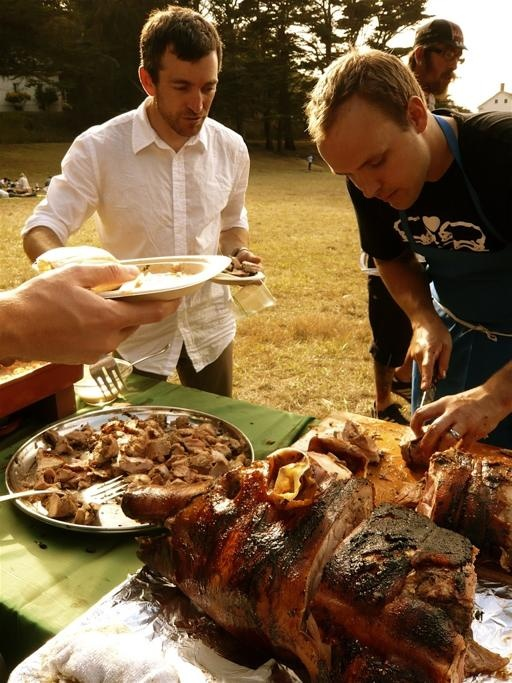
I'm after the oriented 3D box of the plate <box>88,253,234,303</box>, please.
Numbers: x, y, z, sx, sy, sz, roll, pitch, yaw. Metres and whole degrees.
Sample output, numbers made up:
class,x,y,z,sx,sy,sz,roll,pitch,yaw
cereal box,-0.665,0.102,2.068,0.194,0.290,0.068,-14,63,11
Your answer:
class,x,y,z,sx,sy,sz,roll,pitch,yaw
plate,-0.339,-0.226,2.068,0.330,0.052,0.325,-6,15,12

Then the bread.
class,x,y,z,sx,sy,sz,roll,pitch,yaw
bread,-0.570,-0.274,1.873,0.252,0.095,0.224,2,25,-11

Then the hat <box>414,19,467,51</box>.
class,x,y,z,sx,sy,sz,roll,pitch,yaw
hat,1.358,-2.249,4.191,0.360,0.217,0.309,5,15,11
